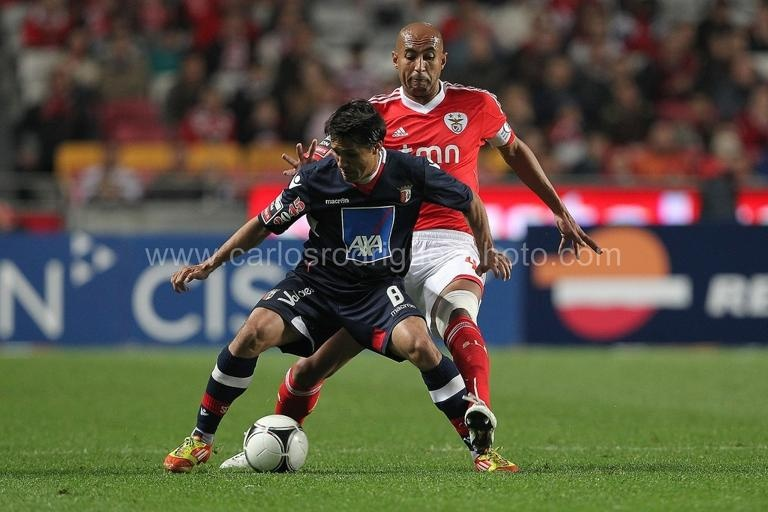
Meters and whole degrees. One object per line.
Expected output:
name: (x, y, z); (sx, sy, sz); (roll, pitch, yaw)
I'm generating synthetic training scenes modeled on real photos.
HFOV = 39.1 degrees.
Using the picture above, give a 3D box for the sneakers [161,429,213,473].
sneakers: (-1.669, 1.690, 9.279); (0.202, 0.260, 0.564); (6, 5, 26)

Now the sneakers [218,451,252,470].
sneakers: (-1.272, 1.766, 9.320); (0.339, 0.138, 0.112); (5, -8, 4)

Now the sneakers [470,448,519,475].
sneakers: (0.932, 1.748, 9.186); (0.347, 0.146, 0.166); (0, -1, 9)
